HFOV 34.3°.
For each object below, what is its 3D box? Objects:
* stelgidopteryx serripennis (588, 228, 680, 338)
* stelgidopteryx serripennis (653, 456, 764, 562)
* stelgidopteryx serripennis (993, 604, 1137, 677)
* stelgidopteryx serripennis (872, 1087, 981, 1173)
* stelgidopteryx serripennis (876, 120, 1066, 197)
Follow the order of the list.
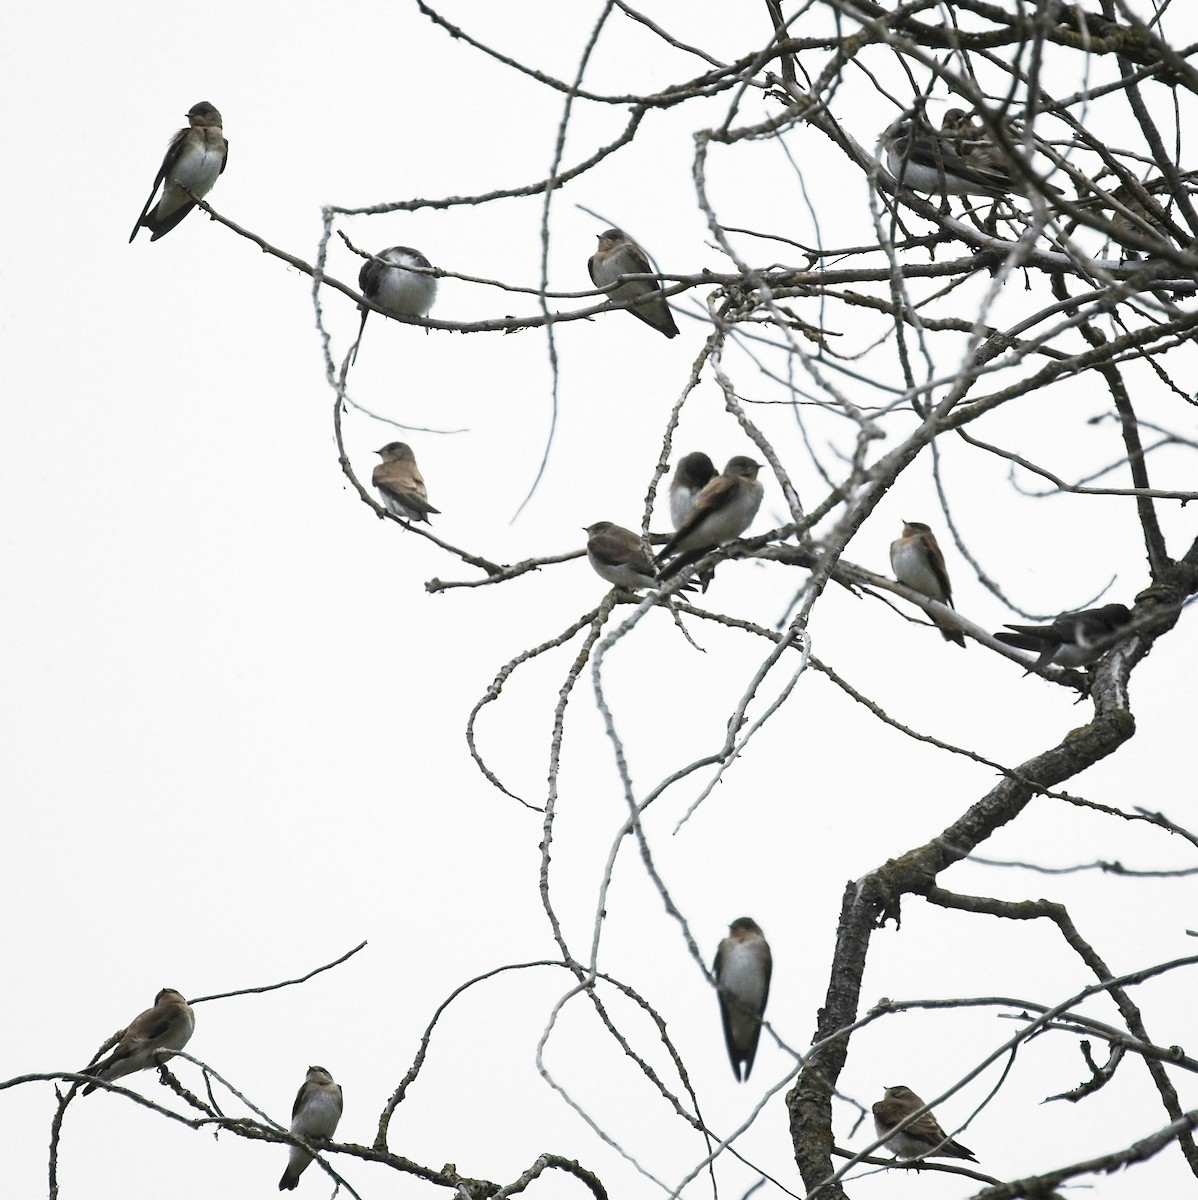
[{"bbox_3d":[0.178,-1.382,8.422,0.237,0.330,0.598,-6,-18,36],"label":"stelgidopteryx serripennis"},{"bbox_3d":[0.415,-0.319,7.204,0.364,0.467,0.238,-1,-36,7],"label":"stelgidopteryx serripennis"},{"bbox_3d":[1.220,0.118,5.065,0.414,0.207,0.134,6,-20,-44],"label":"stelgidopteryx serripennis"},{"bbox_3d":[1.252,2.027,7.445,0.388,0.314,0.261,-2,-26,28],"label":"stelgidopteryx serripennis"},{"bbox_3d":[1.085,-1.364,5.951,0.489,0.262,0.172,4,11,14],"label":"stelgidopteryx serripennis"}]
